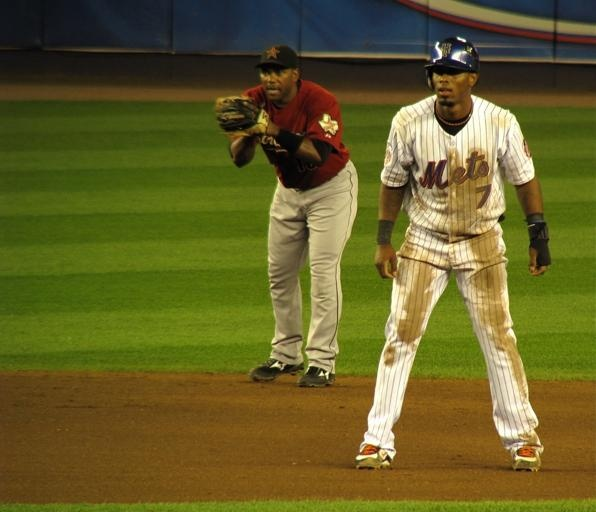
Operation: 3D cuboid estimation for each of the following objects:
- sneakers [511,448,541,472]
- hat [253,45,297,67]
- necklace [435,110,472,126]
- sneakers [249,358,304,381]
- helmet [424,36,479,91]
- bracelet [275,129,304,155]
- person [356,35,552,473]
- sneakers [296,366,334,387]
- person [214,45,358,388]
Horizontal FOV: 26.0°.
[{"bbox_3d":[1.577,1.400,8.871,0.230,0.176,0.142,3,7,-13],"label":"sneakers"},{"bbox_3d":[-0.159,-1.524,9.923,0.288,0.183,0.273,5,7,-5],"label":"hat"},{"bbox_3d":[1.027,-0.926,8.705,0.231,0.094,0.051,7,7,17],"label":"necklace"},{"bbox_3d":[-0.186,0.934,10.430,0.440,0.201,0.154,1,4,-19],"label":"sneakers"},{"bbox_3d":[1.025,-1.294,8.707,0.352,0.349,0.193,6,7,3],"label":"helmet"},{"bbox_3d":[-0.080,-0.838,9.533,0.242,0.177,0.151,3,7,-16],"label":"bracelet"},{"bbox_3d":[1.103,0.030,8.851,1.189,2.972,0.451,5,7,1],"label":"person"},{"bbox_3d":[0.143,0.978,10.269,0.137,0.111,0.260,-9,-13,38],"label":"sneakers"},{"bbox_3d":[-0.076,-0.284,10.152,0.830,2.671,1.492,10,8,31],"label":"person"}]
